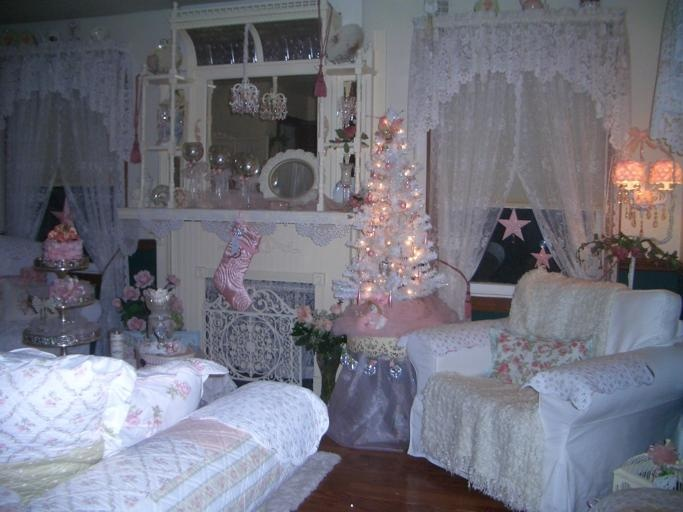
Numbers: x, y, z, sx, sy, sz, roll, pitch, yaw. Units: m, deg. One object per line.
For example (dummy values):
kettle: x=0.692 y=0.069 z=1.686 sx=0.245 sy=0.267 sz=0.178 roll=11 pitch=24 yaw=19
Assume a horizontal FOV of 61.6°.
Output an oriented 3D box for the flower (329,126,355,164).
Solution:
flower: x=0.006 y=-0.844 z=4.367 sx=0.188 sy=0.268 sz=0.385 roll=1 pitch=5 yaw=-2

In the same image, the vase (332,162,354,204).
vase: x=0.017 y=-0.555 z=4.353 sx=0.147 sy=0.317 sz=0.251 roll=1 pitch=5 yaw=-1

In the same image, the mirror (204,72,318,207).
mirror: x=-0.599 y=-0.911 z=4.566 sx=1.065 sy=1.152 sz=0.056 roll=1 pitch=2 yaw=14

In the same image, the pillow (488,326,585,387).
pillow: x=1.125 y=0.584 z=3.275 sx=0.644 sy=0.470 sz=0.164 roll=-6 pitch=-19 yaw=29

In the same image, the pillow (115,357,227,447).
pillow: x=-0.722 y=0.575 z=2.368 sx=0.272 sy=0.112 sz=0.314 roll=18 pitch=20 yaw=31
